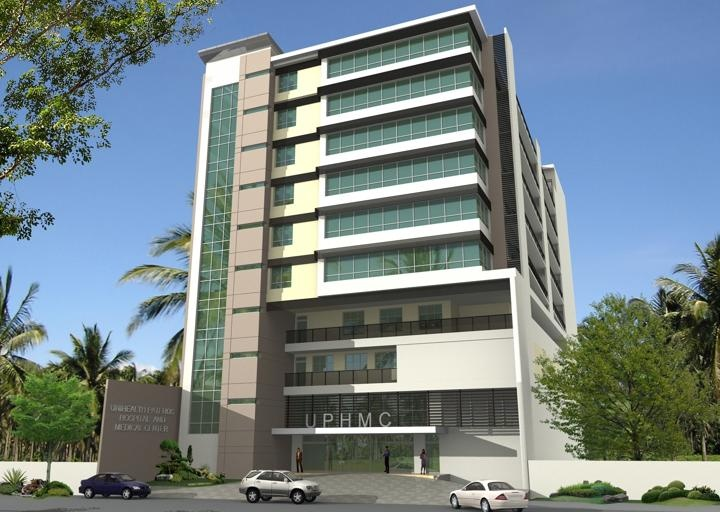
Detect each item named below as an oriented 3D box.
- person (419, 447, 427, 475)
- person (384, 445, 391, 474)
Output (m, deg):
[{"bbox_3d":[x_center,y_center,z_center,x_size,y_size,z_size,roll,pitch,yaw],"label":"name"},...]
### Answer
[{"bbox_3d":[4.881,15.646,47.743,0.553,1.875,0.831,-1,-21,6],"label":"person"},{"bbox_3d":[2.069,15.841,48.735,0.555,2.072,0.958,1,-21,0],"label":"person"}]
